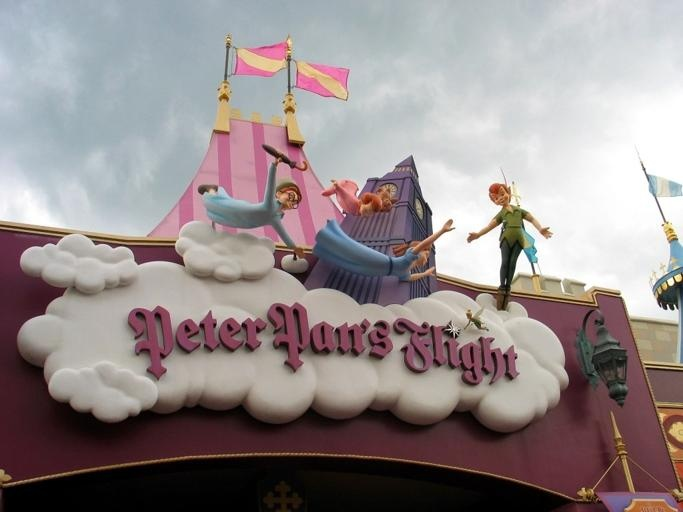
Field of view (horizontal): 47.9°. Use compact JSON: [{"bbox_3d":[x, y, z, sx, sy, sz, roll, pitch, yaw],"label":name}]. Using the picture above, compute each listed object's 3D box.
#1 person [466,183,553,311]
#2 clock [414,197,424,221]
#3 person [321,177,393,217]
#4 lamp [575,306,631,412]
[{"bbox_3d":[3.283,-0.154,15.339,0.979,2.497,0.420,5,6,16],"label":"person"},{"bbox_3d":[1.726,-1.040,17.021,0.182,0.461,0.629,5,7,12],"label":"clock"},{"bbox_3d":[0.339,-1.077,14.531,0.982,0.657,1.616,9,8,35],"label":"person"},{"bbox_3d":[5.133,1.968,15.354,0.744,1.610,1.561,3,6,-5],"label":"lamp"}]
